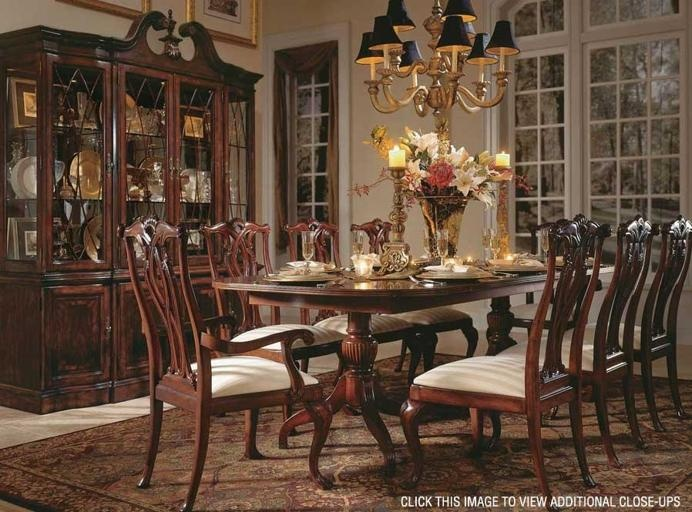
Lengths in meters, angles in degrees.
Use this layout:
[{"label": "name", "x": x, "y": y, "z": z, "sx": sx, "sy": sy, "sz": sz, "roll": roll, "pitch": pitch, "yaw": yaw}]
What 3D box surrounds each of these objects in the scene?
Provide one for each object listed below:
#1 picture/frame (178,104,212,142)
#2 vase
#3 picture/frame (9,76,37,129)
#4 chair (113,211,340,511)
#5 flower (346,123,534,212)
[{"label": "picture/frame", "x": -1.180, "y": -1.034, "z": 4.784, "sx": 0.044, "sy": 0.279, "sz": 0.341, "roll": 8, "pitch": 9, "yaw": 36}, {"label": "vase", "x": 0.506, "y": -0.150, "z": 3.675, "sx": 0.370, "sy": 0.430, "sz": 0.378, "roll": -1, "pitch": 0, "yaw": 21}, {"label": "picture/frame", "x": -2.140, "y": -1.024, "z": 4.120, "sx": 0.249, "sy": 0.346, "sz": 0.050, "roll": 2, "pitch": 5, "yaw": 34}, {"label": "chair", "x": -0.705, "y": 0.363, "z": 3.516, "sx": 1.279, "sy": 1.799, "sz": 1.222, "roll": -3, "pitch": 5, "yaw": -39}, {"label": "flower", "x": 0.570, "y": -0.541, "z": 3.665, "sx": 0.896, "sy": 0.346, "sz": 0.901, "roll": 5, "pitch": 3, "yaw": 18}]
